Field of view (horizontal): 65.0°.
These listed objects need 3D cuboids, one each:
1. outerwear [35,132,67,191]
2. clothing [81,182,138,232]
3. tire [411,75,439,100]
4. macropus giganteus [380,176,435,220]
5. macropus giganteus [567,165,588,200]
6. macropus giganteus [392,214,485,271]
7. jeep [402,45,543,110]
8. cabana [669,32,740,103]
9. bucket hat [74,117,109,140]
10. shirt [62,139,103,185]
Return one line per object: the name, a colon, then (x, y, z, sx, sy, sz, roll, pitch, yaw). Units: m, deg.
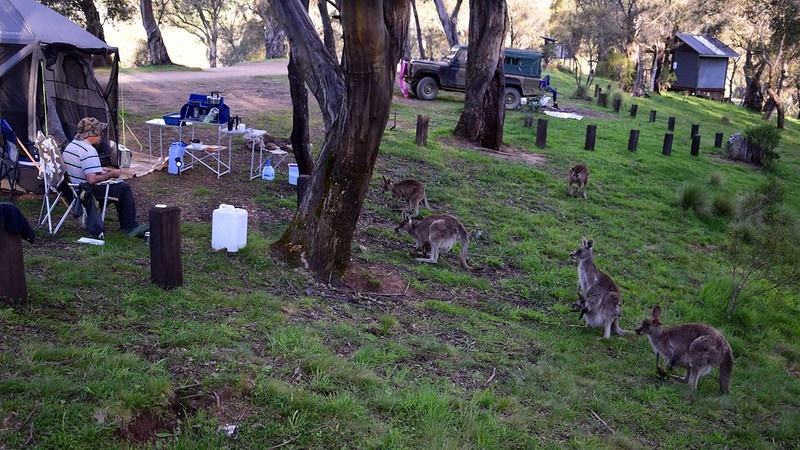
outerwear: (-8.569, -1.495, 15.535, 0.522, 1.443, 0.675, -8, 19, -39)
clothing: (-7.235, -0.401, 15.699, 1.217, 1.566, 1.116, -9, 14, -22)
tire: (1.483, -7.486, 34.579, 1.204, 1.250, 0.561, 2, 15, -11)
macropus giganteus: (0.349, -0.895, 19.576, 1.176, 1.045, 0.637, 14, 18, 31)
macropus giganteus: (6.542, -1.628, 23.039, 0.729, 1.205, 0.807, 9, 16, 17)
macropus giganteus: (1.091, 0.446, 17.741, 2.645, 1.571, 0.872, 4, -16, 18)
jeep: (4.044, -8.173, 36.187, 7.219, 3.640, 3.812, 1, 17, -7)
cabana: (26.470, -14.061, 55.669, 5.178, 5.450, 3.562, 0, 16, -17)
bucket hat: (-7.742, -2.362, 15.834, 0.497, 0.393, 0.717, 31, 54, 26)
shirt: (-8.030, -1.602, 16.020, 1.552, 1.180, 0.835, 12, 14, 37)
